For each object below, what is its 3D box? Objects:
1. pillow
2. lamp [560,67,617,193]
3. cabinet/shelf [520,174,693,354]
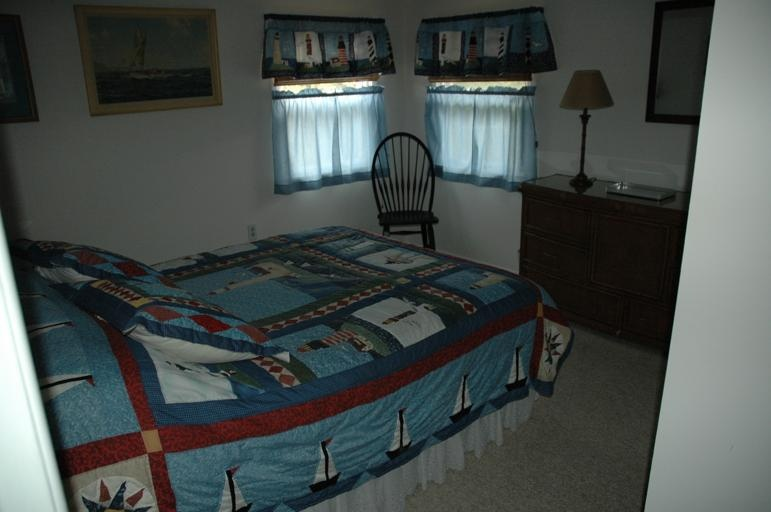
[{"bbox_3d":[-1.000,0.192,2.306,1.187,0.391,0.482,11,22,38],"label":"pillow"},{"bbox_3d":[1.386,-0.882,3.764,0.335,0.791,0.496,4,18,21],"label":"lamp"},{"bbox_3d":[1.296,0.048,3.181,0.497,0.835,1.027,-12,21,-36],"label":"cabinet/shelf"}]
